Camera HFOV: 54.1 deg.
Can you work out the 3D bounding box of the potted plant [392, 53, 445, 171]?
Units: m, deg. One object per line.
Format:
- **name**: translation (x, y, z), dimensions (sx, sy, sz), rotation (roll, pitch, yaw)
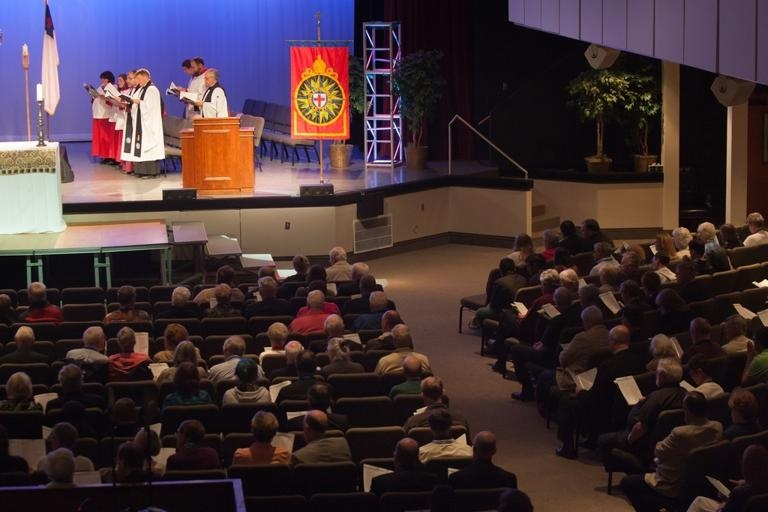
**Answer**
- **potted plant**: translation (0.746, -3.222, 16.404), dimensions (1.045, 2.452, 1.716), rotation (3, 14, 2)
